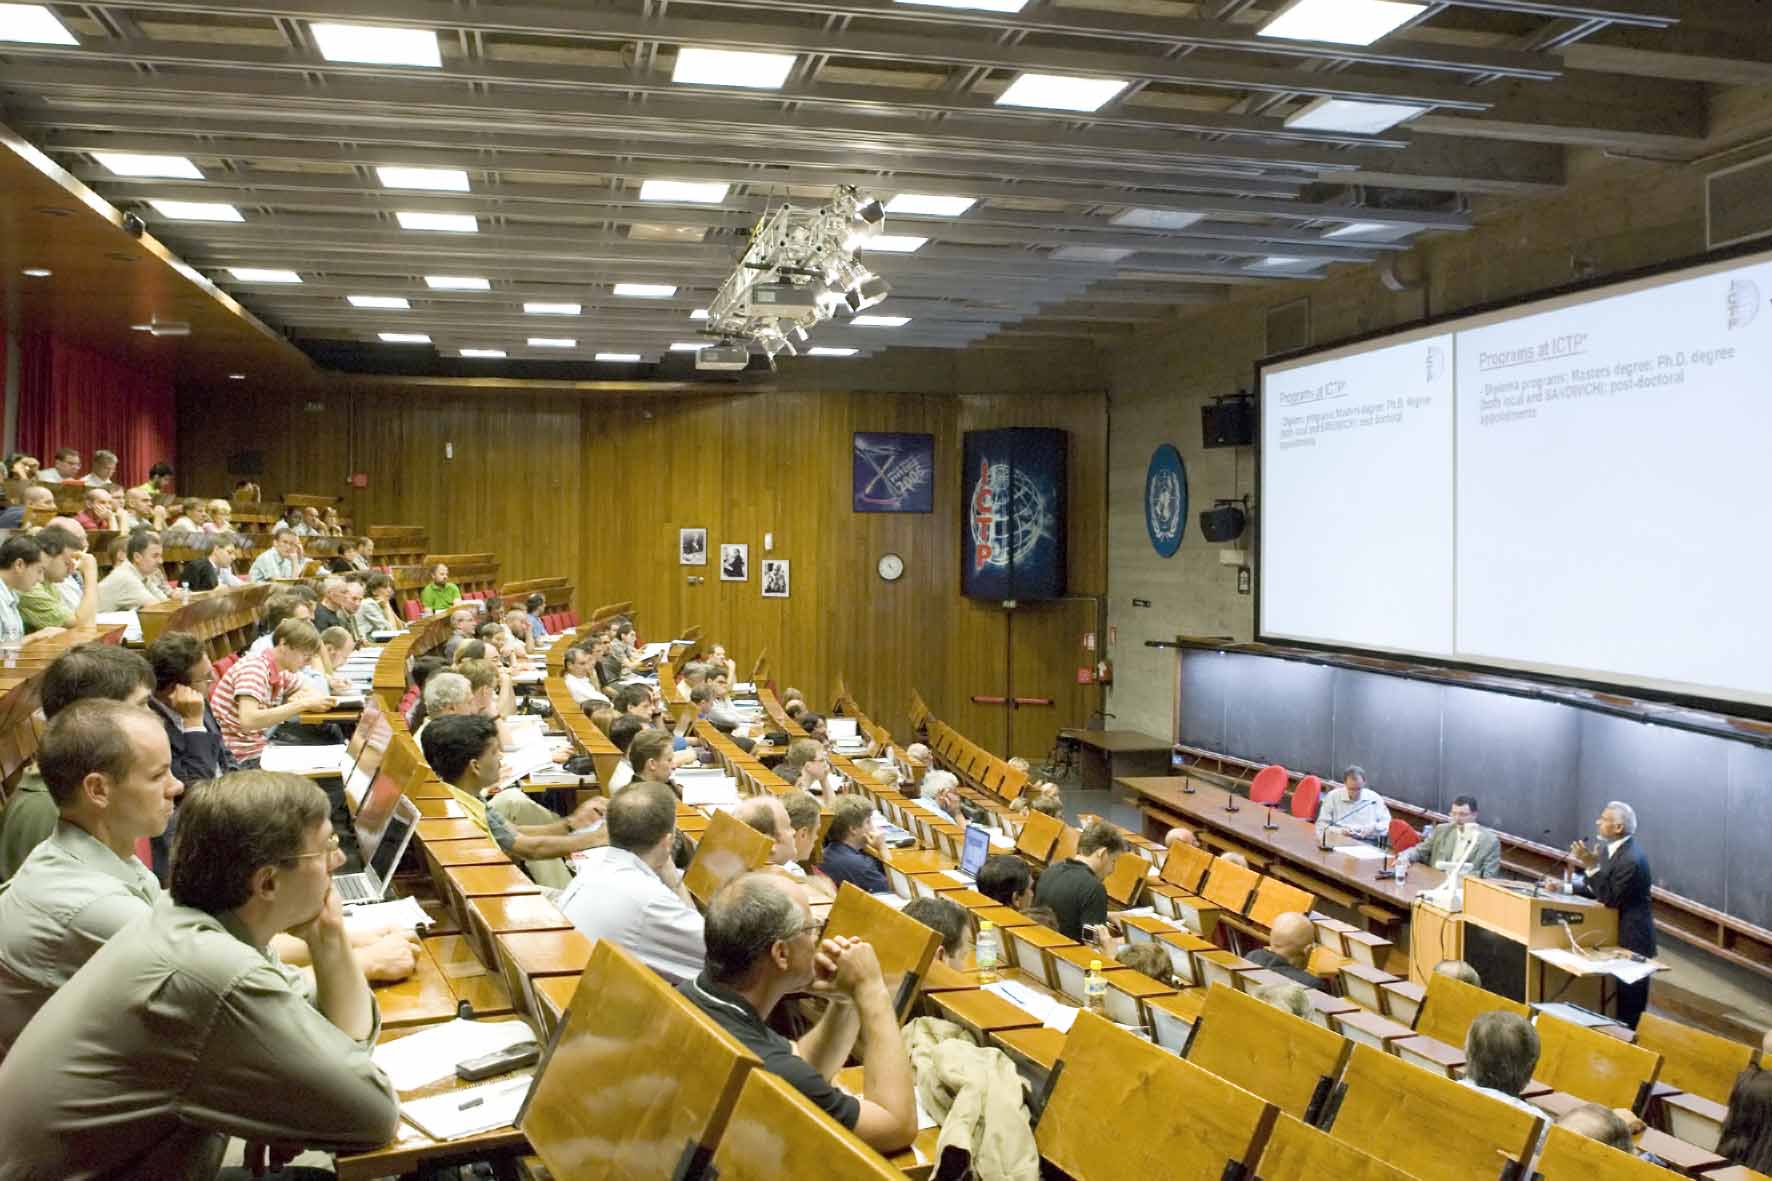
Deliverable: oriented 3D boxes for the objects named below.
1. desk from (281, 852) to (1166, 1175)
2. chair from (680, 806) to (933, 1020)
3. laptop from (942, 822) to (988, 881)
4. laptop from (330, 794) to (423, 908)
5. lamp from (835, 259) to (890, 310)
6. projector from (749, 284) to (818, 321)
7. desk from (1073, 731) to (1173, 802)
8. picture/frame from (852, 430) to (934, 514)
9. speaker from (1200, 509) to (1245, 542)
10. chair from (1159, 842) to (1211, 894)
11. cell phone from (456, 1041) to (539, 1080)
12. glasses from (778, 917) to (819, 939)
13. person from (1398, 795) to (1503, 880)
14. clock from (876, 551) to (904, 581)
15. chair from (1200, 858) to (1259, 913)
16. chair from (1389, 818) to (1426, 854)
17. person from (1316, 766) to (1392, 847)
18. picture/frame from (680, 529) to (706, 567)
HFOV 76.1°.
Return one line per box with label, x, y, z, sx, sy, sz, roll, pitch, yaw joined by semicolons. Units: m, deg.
desk;-0.045;1.422;3.762;1.177;0.484;1.151;27;-6;-42
chair;-0.379;1.546;4.962;0.627;0.978;1.439;3;3;-21
laptop;0.598;2.009;8.787;0.270;0.317;0.350;1;0;-18
laptop;-2.064;1.089;4.655;0.480;0.386;0.530;5;3;-26
lamp;-0.296;-2.653;9.856;0.568;0.260;0.712;-3;11;-21
projector;-0.916;-2.580;10.024;0.545;0.229;0.327;1;2;-7
desk;3.475;2.362;16.805;0.739;0.656;1.361;-1;3;-14
picture/frame;0.004;-2.049;18.997;1.406;1.306;0.136;2;-2;-12
speaker;4.466;-0.896;15.104;0.434;0.326;0.438;-5;-9;27
chair;2.651;2.482;10.189;0.317;0.396;0.574;12;-7;-3
cell phone;-1.246;1.514;3.656;0.089;0.033;0.168;6;7;41
glasses;-0.291;1.061;3.629;0.110;0.029;0.106;-2;-29;6
person;5.197;2.278;10.457;0.618;1.096;0.671;17;-15;-28
clock;0.006;-0.438;19.018;0.492;0.482;0.111;3;1;-6
chair;2.861;2.474;9.539;0.334;0.418;0.605;9;-6;-5
chair;5.124;2.420;11.246;0.342;0.324;0.269;4;2;-9
person;4.782;2.417;11.696;0.710;1.229;0.567;0;8;26
picture/frame;-3.220;-0.702;18.726;0.578;0.752;0.079;1;6;-2
